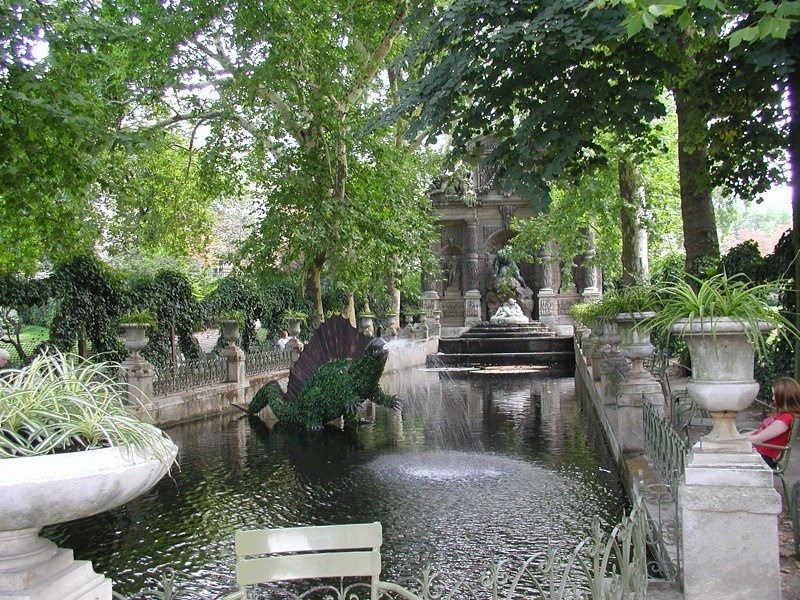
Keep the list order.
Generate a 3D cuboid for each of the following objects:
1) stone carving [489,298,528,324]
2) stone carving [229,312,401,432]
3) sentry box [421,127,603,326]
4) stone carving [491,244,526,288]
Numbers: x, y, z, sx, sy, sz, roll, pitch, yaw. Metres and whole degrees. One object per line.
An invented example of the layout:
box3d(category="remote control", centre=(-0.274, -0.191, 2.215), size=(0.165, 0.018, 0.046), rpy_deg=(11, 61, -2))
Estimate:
box3d(category="stone carving", centre=(5.289, 0.678, 31.069), size=(1.307, 0.851, 1.374), rpy_deg=(2, 1, -1))
box3d(category="stone carving", centre=(-1.949, 1.603, 13.316), size=(4.095, 2.333, 1.376), rpy_deg=(-10, -8, 29))
box3d(category="sentry box", centre=(5.930, -3.065, 34.934), size=(9.173, 9.802, 1.191), rpy_deg=(-1, 21, 9))
box3d(category="stone carving", centre=(5.457, -1.694, 33.885), size=(1.878, 2.172, 1.886), rpy_deg=(-10, -11, 36))
